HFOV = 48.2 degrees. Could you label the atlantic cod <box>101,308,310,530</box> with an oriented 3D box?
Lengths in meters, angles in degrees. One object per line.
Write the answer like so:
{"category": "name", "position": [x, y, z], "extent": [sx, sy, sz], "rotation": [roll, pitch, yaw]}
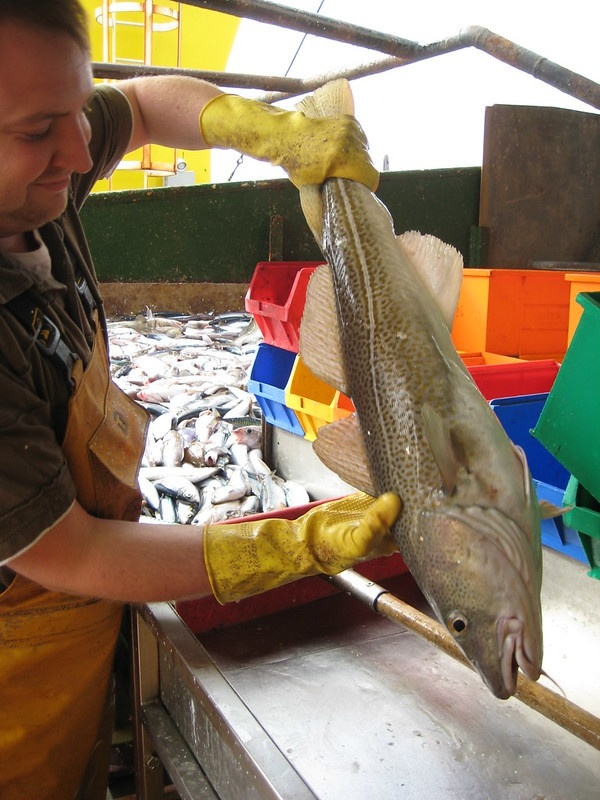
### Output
{"category": "atlantic cod", "position": [-0.764, 0.143, 4.714], "extent": [1.439, 0.448, 2.011], "rotation": [9, 24, -15]}
